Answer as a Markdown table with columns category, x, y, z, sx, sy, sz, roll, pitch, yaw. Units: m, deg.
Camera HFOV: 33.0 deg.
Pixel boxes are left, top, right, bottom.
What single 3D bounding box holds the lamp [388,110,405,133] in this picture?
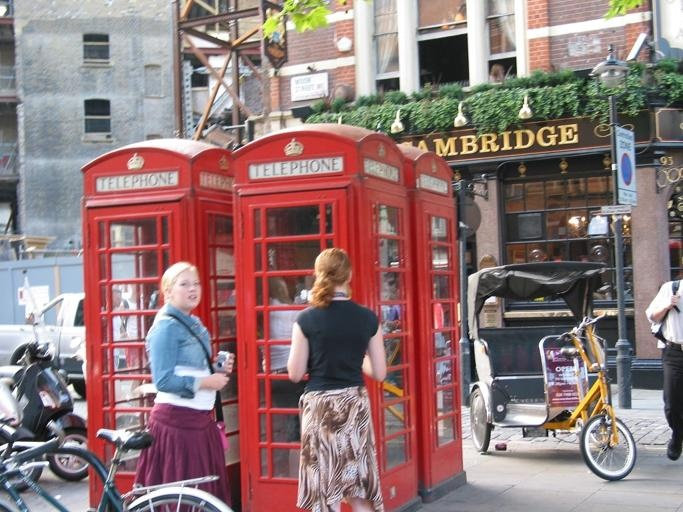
| category | x | y | z | sx | sy | sz | roll | pitch | yaw |
| --- | --- | --- | --- | --- | --- | --- | --- | --- | --- |
| lamp | 1.102 | -2.689 | 23.111 | 0.306 | 0.475 | 0.215 | -4 | -1 | 9 |

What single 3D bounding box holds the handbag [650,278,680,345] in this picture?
| category | x | y | z | sx | sy | sz | roll | pitch | yaw |
| --- | --- | --- | --- | --- | --- | --- | --- | --- | --- |
| handbag | 4.349 | 0.778 | 15.557 | 0.311 | 0.815 | 0.382 | 4 | 5 | 30 |

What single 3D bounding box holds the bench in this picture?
| category | x | y | z | sx | sy | sz | roll | pitch | yaw |
| --- | --- | --- | --- | --- | --- | --- | --- | --- | --- |
| bench | 2.736 | 1.525 | 17.267 | 1.881 | 1.169 | 0.979 | -1 | -2 | 8 |

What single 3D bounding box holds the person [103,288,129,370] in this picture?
| category | x | y | z | sx | sy | sz | roll | pitch | yaw |
| --- | --- | --- | --- | --- | --- | --- | --- | --- | --- |
| person | -2.680 | 0.878 | 13.949 | 0.267 | 0.854 | 0.208 | 6 | 9 | 41 |

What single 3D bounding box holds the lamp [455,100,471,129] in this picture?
| category | x | y | z | sx | sy | sz | roll | pitch | yaw |
| --- | --- | --- | --- | --- | --- | --- | --- | --- | --- |
| lamp | 2.317 | -2.769 | 22.583 | 0.299 | 0.493 | 0.315 | -4 | -1 | 14 |

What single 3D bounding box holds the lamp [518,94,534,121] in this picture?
| category | x | y | z | sx | sy | sz | roll | pitch | yaw |
| --- | --- | --- | --- | --- | --- | --- | --- | --- | --- |
| lamp | 3.495 | -2.841 | 21.993 | 0.277 | 0.471 | 0.290 | -4 | -1 | 4 |
